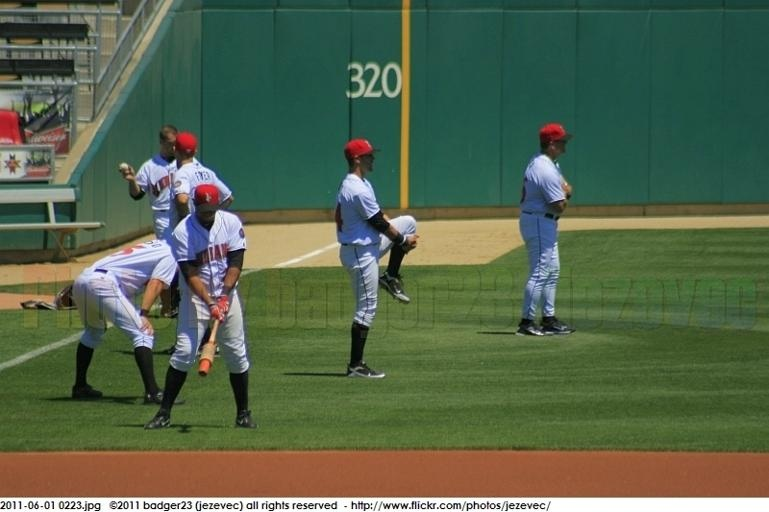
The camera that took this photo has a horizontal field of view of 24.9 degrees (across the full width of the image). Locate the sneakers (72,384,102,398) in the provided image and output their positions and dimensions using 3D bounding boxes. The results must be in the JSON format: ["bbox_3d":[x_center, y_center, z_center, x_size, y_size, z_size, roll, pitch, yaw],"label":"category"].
[{"bbox_3d":[-4.685,2.103,27.431,0.431,0.176,0.211,1,11,-6],"label":"sneakers"}]

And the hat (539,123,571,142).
[{"bbox_3d":[2.958,-2.074,29.839,0.531,0.261,0.360,-11,20,-26],"label":"hat"}]

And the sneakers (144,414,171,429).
[{"bbox_3d":[-3.460,2.505,26.531,0.376,0.146,0.182,0,7,-3],"label":"sneakers"}]

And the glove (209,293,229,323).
[{"bbox_3d":[-2.483,0.770,26.346,0.239,0.393,0.153,14,-36,13],"label":"glove"}]

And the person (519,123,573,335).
[{"bbox_3d":[2.715,-0.199,29.757,0.856,3.036,0.619,1,7,4],"label":"person"}]

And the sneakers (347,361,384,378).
[{"bbox_3d":[-0.311,1.817,28.048,0.598,0.212,0.241,0,2,-2],"label":"sneakers"}]

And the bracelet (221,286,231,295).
[{"bbox_3d":[-2.398,0.516,26.477,0.136,0.131,0.146,-1,-4,17],"label":"bracelet"}]

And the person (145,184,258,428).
[{"bbox_3d":[-2.678,0.756,26.478,1.407,3.674,0.434,0,7,-8],"label":"person"}]

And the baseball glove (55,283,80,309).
[{"bbox_3d":[-5.517,0.709,30.369,0.344,0.447,0.458,13,24,41],"label":"baseball glove"}]

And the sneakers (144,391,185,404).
[{"bbox_3d":[-3.454,2.210,27.371,0.691,0.258,0.219,-1,5,-4],"label":"sneakers"}]
